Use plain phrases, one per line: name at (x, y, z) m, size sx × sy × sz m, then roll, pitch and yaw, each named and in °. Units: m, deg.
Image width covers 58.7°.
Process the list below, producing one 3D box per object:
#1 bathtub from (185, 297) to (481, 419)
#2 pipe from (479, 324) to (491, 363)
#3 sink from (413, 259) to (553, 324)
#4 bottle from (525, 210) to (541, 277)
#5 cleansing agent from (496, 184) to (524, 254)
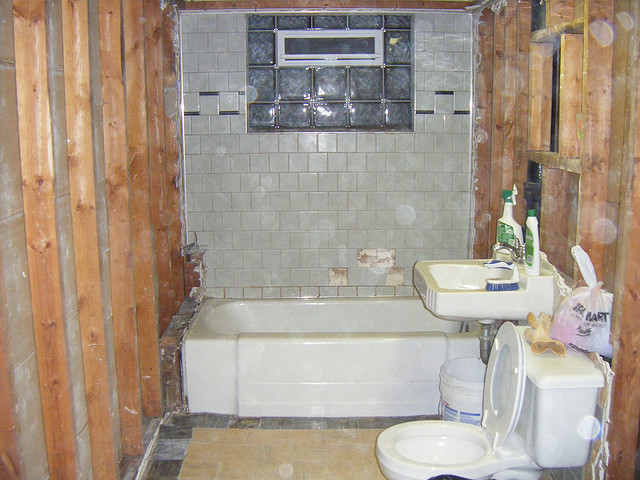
bathtub at (0.089, 0.825, 4.088) m, size 1.996 × 0.549 × 0.946 m, roll 2°, pitch 6°, yaw -11°
pipe at (0.934, 0.588, 3.240) m, size 0.060 × 0.246 × 0.066 m, roll 2°, pitch 11°, yaw 13°
sink at (0.883, 0.262, 3.212) m, size 0.636 × 0.328 × 0.581 m, roll 0°, pitch 11°, yaw 0°
bottle at (1.104, 0.010, 2.953) m, size 0.086 × 0.337 × 0.137 m, roll 4°, pitch 12°, yaw 21°
cleansing agent at (1.048, -0.097, 3.231) m, size 0.120 × 0.488 × 0.204 m, roll 0°, pitch 6°, yaw 5°
